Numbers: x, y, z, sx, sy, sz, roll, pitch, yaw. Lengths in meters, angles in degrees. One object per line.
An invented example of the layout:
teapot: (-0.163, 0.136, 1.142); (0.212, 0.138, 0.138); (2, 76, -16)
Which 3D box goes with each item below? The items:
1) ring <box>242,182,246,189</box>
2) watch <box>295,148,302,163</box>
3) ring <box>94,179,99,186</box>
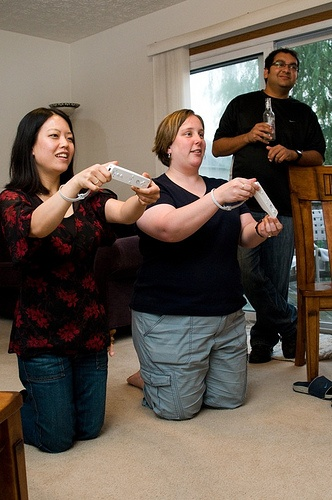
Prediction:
ring: (0.228, -0.191, 1.177); (0.007, 0.009, 0.013); (-49, -10, -23)
watch: (0.724, -0.517, 2.176); (0.021, 0.055, 0.044); (8, 9, 23)
ring: (-0.162, -0.157, 0.927); (0.012, 0.014, 0.005); (-2, 53, 3)
